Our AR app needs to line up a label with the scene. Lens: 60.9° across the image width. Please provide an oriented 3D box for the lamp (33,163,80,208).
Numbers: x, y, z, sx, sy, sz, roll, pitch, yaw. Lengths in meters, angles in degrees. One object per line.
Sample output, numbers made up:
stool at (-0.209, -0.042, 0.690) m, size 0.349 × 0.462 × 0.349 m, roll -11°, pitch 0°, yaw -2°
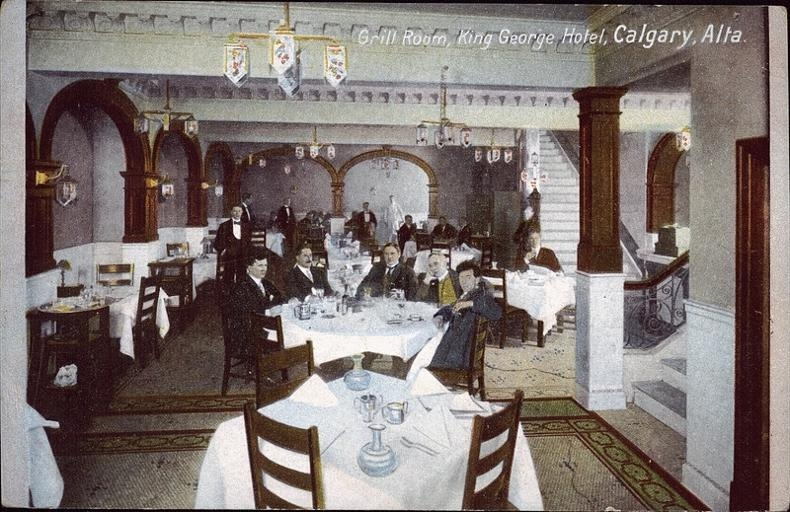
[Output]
lamp at (-4.168, -0.892, 8.340) m, size 0.398 × 0.500 × 0.590 m, roll -2°, pitch 4°, yaw -15°

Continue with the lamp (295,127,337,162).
lamp at (-1.607, -2.278, 14.030) m, size 0.904 × 0.688 × 0.901 m, roll -1°, pitch 2°, yaw -39°

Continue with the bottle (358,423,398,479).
bottle at (-0.148, 1.555, 5.462) m, size 0.361 × 0.474 × 0.364 m, roll 0°, pitch -5°, yaw 0°

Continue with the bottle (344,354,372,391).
bottle at (-0.350, 1.075, 6.195) m, size 0.279 × 0.392 × 0.285 m, roll 1°, pitch -5°, yaw 0°

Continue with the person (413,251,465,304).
person at (0.593, 0.307, 9.092) m, size 0.564 × 1.024 × 0.364 m, roll -5°, pitch -3°, yaw 21°

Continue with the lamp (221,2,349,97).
lamp at (-1.190, -2.304, 7.312) m, size 1.256 × 1.408 × 0.653 m, roll -1°, pitch 10°, yaw -10°

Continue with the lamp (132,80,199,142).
lamp at (-3.360, -2.015, 9.814) m, size 1.026 × 0.967 × 1.045 m, roll 0°, pitch 6°, yaw -14°

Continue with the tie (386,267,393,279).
tie at (-0.078, 0.207, 9.024) m, size 0.099 × 0.104 × 0.027 m, roll -5°, pitch -18°, yaw 31°

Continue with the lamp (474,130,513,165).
lamp at (2.230, -2.501, 15.267) m, size 0.892 × 0.984 × 0.740 m, roll 0°, pitch 4°, yaw -5°

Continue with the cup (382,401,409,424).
cup at (0.003, 1.333, 5.754) m, size 0.191 × 0.137 × 0.140 m, roll -3°, pitch 1°, yaw -10°
